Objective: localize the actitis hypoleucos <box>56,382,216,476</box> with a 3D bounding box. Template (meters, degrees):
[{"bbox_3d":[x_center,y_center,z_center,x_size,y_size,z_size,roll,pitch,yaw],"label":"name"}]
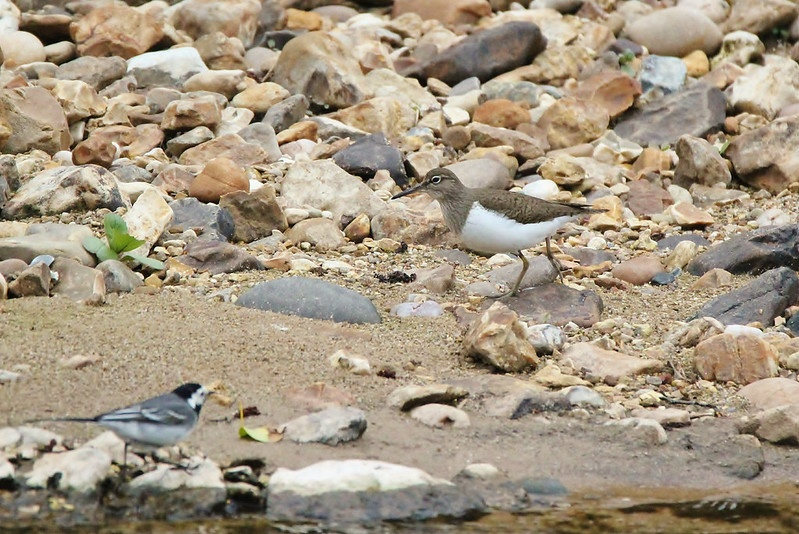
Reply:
[{"bbox_3d":[-1.901,1.225,8.162,0.907,0.384,0.348,-15,50,-21],"label":"actitis hypoleucos"}]
